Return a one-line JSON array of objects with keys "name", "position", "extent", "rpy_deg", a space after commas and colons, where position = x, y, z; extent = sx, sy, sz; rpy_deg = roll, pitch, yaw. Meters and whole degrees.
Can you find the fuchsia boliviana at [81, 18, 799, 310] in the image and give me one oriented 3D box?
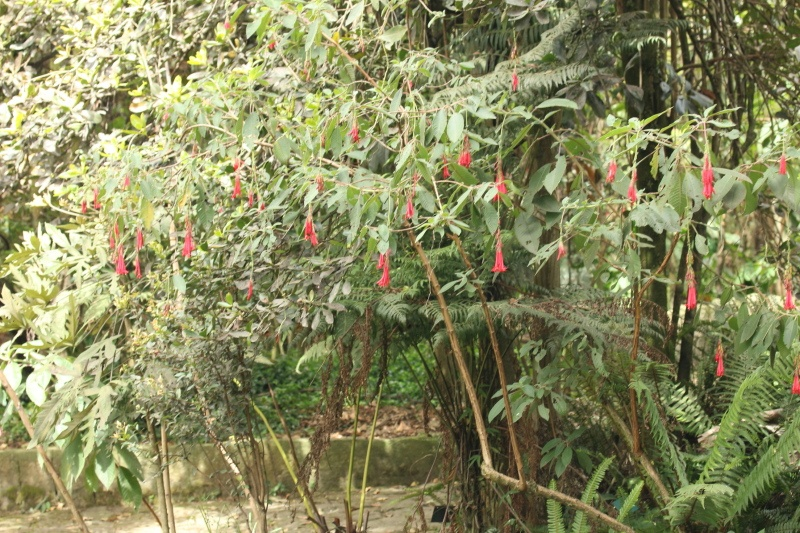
[{"name": "fuchsia boliviana", "position": [0.154, -0.607, 7.035], "extent": [2.317, 1.065, 2.439], "rpy_deg": [-1, 0, -22]}]
